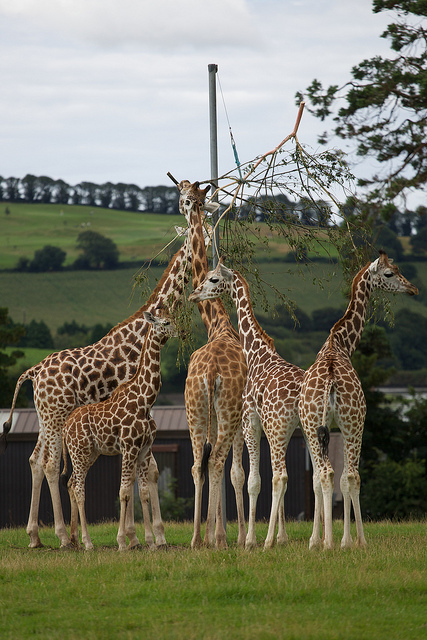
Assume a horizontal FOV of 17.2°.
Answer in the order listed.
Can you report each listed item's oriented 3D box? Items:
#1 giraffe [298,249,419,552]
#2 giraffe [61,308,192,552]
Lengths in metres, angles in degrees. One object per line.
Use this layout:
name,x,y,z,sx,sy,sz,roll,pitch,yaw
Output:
giraffe,1.524,0.900,16.923,0.809,3.581,1.666,0,-2,19
giraffe,-1.159,1.393,17.429,1.509,2.930,0.718,-1,-3,31
